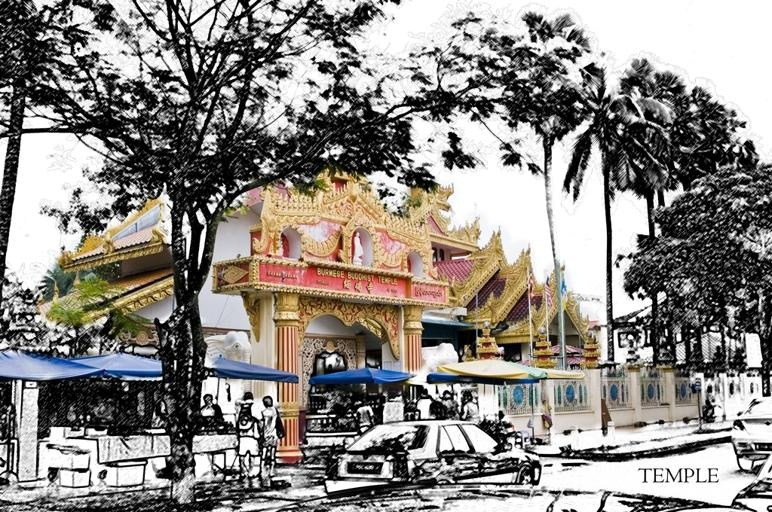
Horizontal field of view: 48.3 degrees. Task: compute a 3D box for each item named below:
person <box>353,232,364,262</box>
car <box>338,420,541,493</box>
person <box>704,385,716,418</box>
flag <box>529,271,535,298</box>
[{"bbox_3d":[-0.853,-0.252,28.200,0.173,1.113,0.643,-5,-12,16],"label":"person"},{"bbox_3d":[1.070,4.293,18.561,3.316,1.157,1.720,4,-11,-35],"label":"car"},{"bbox_3d":[15.155,6.795,40.467,0.534,1.674,2.376,-6,-13,20],"label":"person"},{"bbox_3d":[6.652,1.234,39.337,0.209,1.016,0.874,-5,-12,15],"label":"flag"}]
